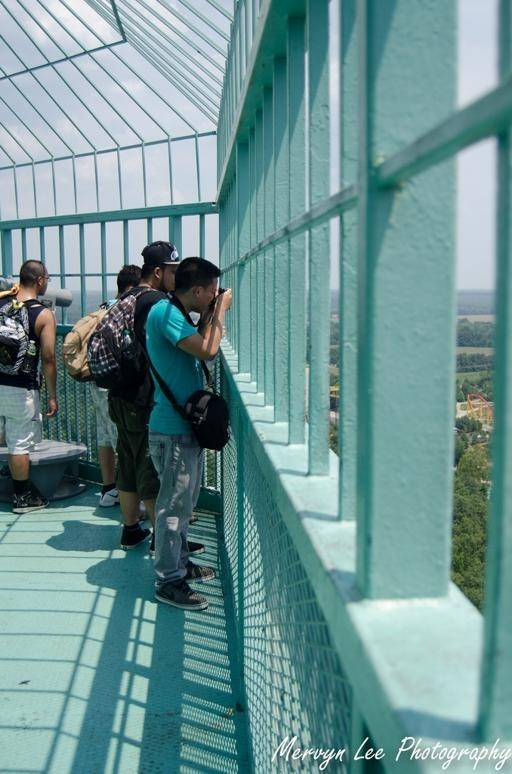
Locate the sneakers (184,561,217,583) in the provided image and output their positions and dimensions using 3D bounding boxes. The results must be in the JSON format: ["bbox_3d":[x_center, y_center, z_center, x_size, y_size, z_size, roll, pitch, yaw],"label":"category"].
[{"bbox_3d":[-0.335,1.113,3.641,0.181,0.094,0.083,-2,8,2],"label":"sneakers"}]

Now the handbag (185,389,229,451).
[{"bbox_3d":[-0.248,0.166,2.952,0.133,0.238,0.172,-23,44,-24],"label":"handbag"}]

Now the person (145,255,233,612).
[{"bbox_3d":[-0.360,0.279,3.136,0.427,1.859,0.644,-4,7,-32],"label":"person"}]

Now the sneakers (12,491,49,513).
[{"bbox_3d":[-1.903,0.950,5.076,0.311,0.158,0.126,-4,5,-40],"label":"sneakers"}]
